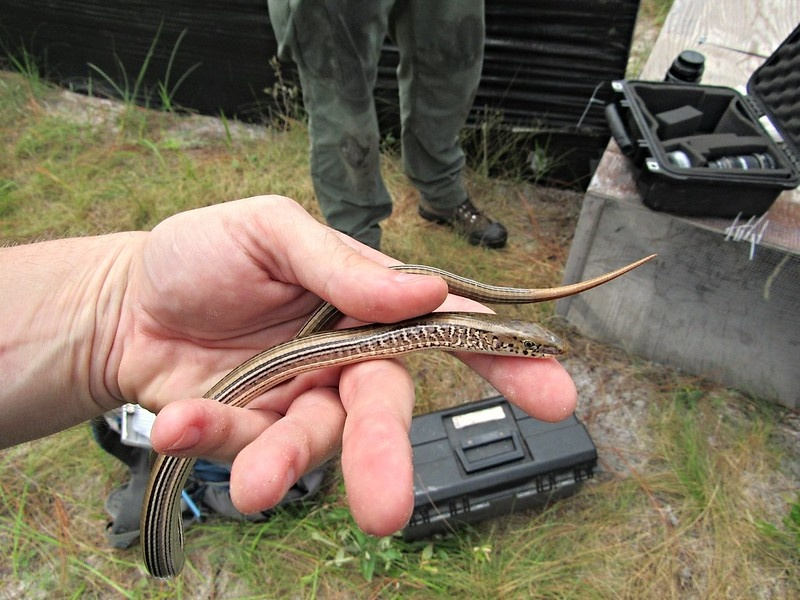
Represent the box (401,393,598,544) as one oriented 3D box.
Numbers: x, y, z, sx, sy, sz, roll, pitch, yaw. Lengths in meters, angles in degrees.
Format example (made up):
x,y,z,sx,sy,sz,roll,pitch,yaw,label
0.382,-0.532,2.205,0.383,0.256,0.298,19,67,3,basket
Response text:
x,y,z,sx,sy,sz,roll,pitch,yaw,label
0.721,1.265,4.656,1.573,0.611,0.923,-13,47,-11,box
